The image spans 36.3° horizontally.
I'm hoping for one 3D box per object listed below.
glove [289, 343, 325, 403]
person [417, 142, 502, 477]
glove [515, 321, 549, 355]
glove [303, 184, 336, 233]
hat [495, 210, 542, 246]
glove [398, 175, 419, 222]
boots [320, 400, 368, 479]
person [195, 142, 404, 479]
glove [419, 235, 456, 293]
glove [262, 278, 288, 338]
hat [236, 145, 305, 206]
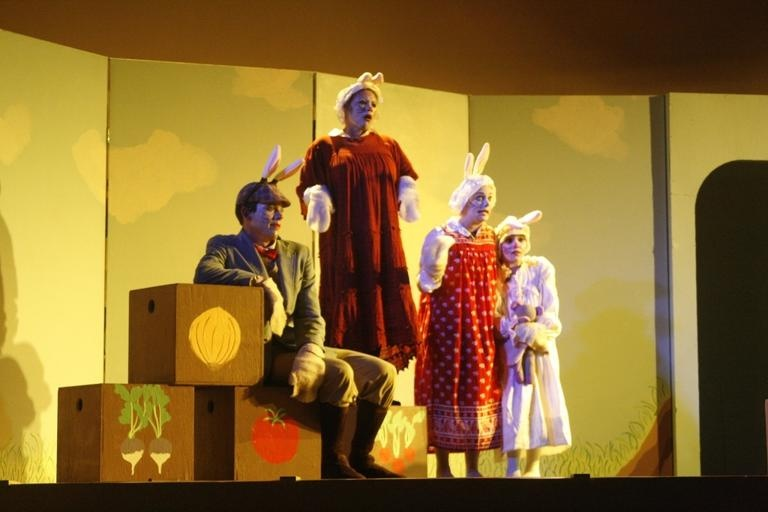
[{"bbox_3d":[-0.412,0.635,6.245,0.150,0.306,0.114,16,-23,-20],"label":"glove"},{"bbox_3d":[0.462,0.311,7.056,0.522,2.010,0.316,1,-6,6],"label":"person"},{"bbox_3d":[0.901,0.498,7.051,0.210,0.180,0.082,4,-7,-17],"label":"glove"},{"bbox_3d":[-0.383,-0.277,6.901,0.183,0.258,0.106,0,-5,28],"label":"glove"},{"bbox_3d":[0.846,-0.199,7.283,0.190,0.154,0.283,-5,13,44],"label":"hat"},{"bbox_3d":[0.140,-0.337,6.956,0.120,0.249,0.088,-4,-7,4],"label":"glove"},{"bbox_3d":[-0.213,1.002,6.297,0.247,0.388,0.203,7,-8,-40],"label":"boots"},{"bbox_3d":[-0.456,0.298,6.411,1.132,1.793,0.427,3,-6,-8],"label":"person"},{"bbox_3d":[0.313,0.035,7.026,0.208,0.383,0.115,1,-6,9],"label":"glove"},{"bbox_3d":[-0.584,0.289,6.337,0.066,0.277,0.164,-1,4,32],"label":"glove"},{"bbox_3d":[-0.635,-0.418,6.538,0.326,0.349,0.301,12,0,4],"label":"hat"}]
